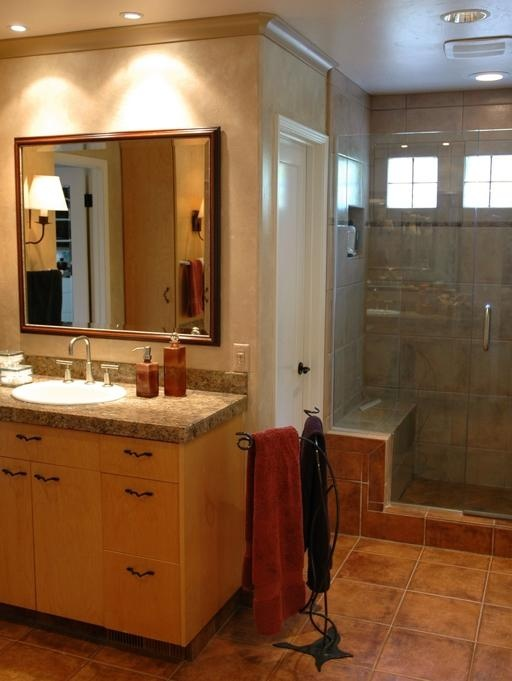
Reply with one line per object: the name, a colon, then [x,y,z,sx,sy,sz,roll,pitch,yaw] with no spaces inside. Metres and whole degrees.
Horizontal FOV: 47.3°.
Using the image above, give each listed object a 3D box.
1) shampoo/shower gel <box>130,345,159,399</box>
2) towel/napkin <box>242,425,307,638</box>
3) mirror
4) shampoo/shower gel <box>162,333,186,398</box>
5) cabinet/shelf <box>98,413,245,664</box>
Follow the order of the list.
shampoo/shower gel: [-0.425,0.123,2.279,0.088,0.195,0.080,1,2,20]
towel/napkin: [0.078,0.627,1.954,0.253,0.678,0.176,-1,2,-20]
mirror: [-0.587,-0.423,2.469,0.851,0.900,0.068,0,4,4]
shampoo/shower gel: [-0.312,0.122,2.265,0.081,0.199,0.090,-1,2,-12]
cabinet/shelf: [-0.301,0.669,2.144,0.351,0.730,0.543,1,2,19]
